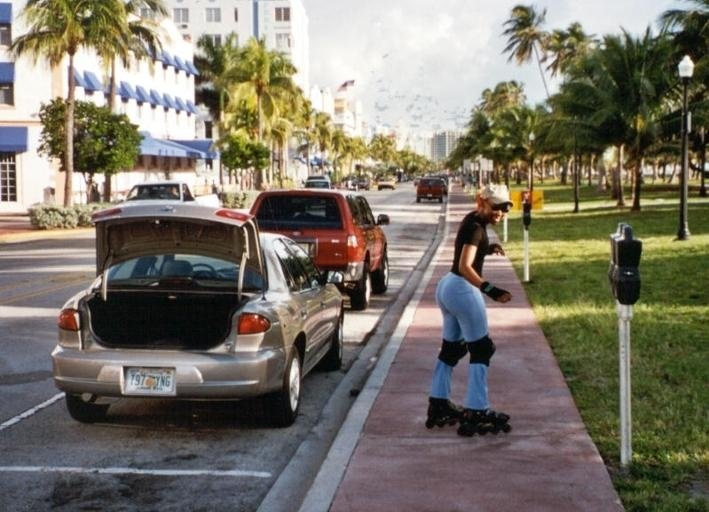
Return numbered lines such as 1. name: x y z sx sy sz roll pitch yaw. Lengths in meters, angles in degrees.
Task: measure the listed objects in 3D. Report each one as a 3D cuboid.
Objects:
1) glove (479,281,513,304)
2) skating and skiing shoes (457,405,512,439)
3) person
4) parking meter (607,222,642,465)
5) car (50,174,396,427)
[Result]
1. glove: 1.348 0.334 7.454 0.239 0.081 0.243 33 3 -16
2. skating and skiing shoes: 1.270 1.642 7.763 0.611 0.284 0.237 1 4 12
3. person: 1.207 0.520 7.884 0.779 2.426 0.948 1 4 -17
4. parking meter: 2.500 0.828 7.182 0.237 2.114 1.001 1 -7 18
5. car: -1.495 0.493 9.200 1.732 1.727 3.265 1 5 11
